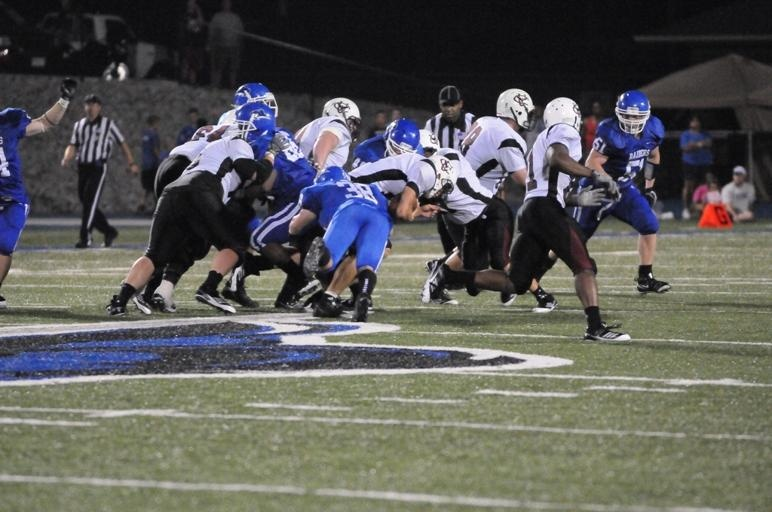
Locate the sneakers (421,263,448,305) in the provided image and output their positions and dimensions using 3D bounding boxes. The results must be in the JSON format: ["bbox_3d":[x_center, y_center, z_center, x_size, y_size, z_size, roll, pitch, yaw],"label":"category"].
[{"bbox_3d":[0.427,0.279,9.620,0.212,0.419,0.161,4,27,-15],"label":"sneakers"}]

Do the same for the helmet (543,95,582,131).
[{"bbox_3d":[1.398,-1.134,8.628,0.237,0.268,0.312,19,28,40],"label":"helmet"}]

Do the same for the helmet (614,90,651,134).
[{"bbox_3d":[2.258,-1.356,10.169,0.351,0.337,0.418,0,23,9],"label":"helmet"}]

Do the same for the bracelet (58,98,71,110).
[{"bbox_3d":[-3.024,-1.422,10.118,0.131,0.091,0.122,14,5,-2],"label":"bracelet"}]

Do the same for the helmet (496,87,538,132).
[{"bbox_3d":[1.223,-1.433,10.737,0.440,0.357,0.310,-2,33,-4],"label":"helmet"}]

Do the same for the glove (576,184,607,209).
[{"bbox_3d":[1.652,-0.470,8.779,0.369,0.162,0.080,-1,19,18],"label":"glove"}]

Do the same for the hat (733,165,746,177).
[{"bbox_3d":[6.571,-1.580,20.314,0.349,0.185,0.528,1,0,15],"label":"hat"}]

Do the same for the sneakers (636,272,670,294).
[{"bbox_3d":[2.610,0.278,10.841,0.427,0.185,0.148,1,10,25],"label":"sneakers"}]

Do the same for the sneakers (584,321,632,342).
[{"bbox_3d":[1.591,0.554,8.071,0.422,0.145,0.146,-1,-1,15],"label":"sneakers"}]

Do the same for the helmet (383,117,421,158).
[{"bbox_3d":[0.096,-1.038,9.541,0.289,0.304,0.343,17,40,-23],"label":"helmet"}]

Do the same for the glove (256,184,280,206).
[{"bbox_3d":[-1.093,-0.528,9.662,0.201,0.162,0.153,-3,14,32],"label":"glove"}]

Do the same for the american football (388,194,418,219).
[{"bbox_3d":[0.084,-0.403,9.033,0.181,0.087,0.237,26,-21,10],"label":"american football"}]
